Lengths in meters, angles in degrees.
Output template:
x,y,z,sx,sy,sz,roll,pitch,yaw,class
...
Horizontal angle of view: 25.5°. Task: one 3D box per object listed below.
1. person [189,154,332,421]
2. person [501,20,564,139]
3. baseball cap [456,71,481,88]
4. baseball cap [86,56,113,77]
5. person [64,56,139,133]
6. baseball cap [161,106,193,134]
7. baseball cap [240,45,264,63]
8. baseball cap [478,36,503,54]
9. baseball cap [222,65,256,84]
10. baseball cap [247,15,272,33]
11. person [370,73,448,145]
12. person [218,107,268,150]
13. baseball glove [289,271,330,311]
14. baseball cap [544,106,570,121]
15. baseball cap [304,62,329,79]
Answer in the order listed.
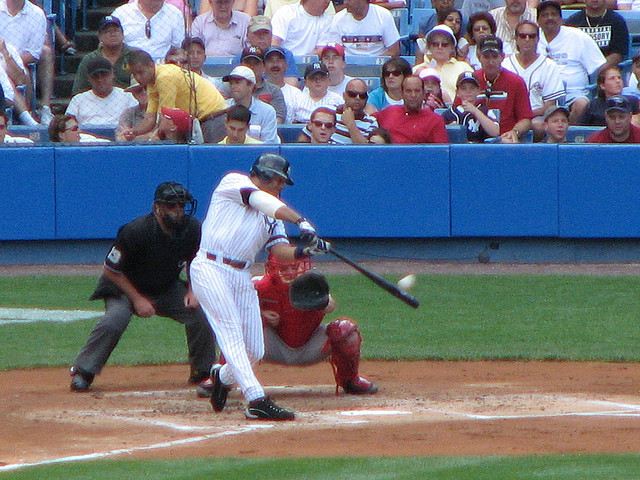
x,y,z,sx,sy,sz,roll,pitch,yaw,class
-0.645,0.419,12.647,1.058,2.360,0.728,0,3,-5,person
2.733,-2.166,18.112,0.794,1.192,0.451,1,3,6,person
1.848,-1.991,17.570,0.298,0.215,0.340,1,2,4,baseball cap
-2.782,-2.148,17.696,0.305,0.248,0.253,0,3,-8,baseball cap
-2.744,-1.806,17.836,1.262,0.835,0.598,-2,12,-6,person
-1.726,-1.444,16.907,0.356,0.185,0.222,34,26,-15,baseball cap
-0.880,-2.327,17.854,0.278,0.215,0.397,0,2,-3,baseball cap
2.132,-2.418,17.625,0.275,0.242,0.318,1,3,4,baseball cap
-0.998,-2.009,17.235,0.229,0.144,0.323,-4,-13,40,baseball cap
-0.802,-2.840,18.719,0.323,0.246,0.287,0,3,-14,baseball cap
1.146,-1.628,17.600,0.617,0.902,0.808,-1,3,-34,person
-0.945,-1.309,17.250,0.783,0.411,0.524,3,8,1,person
-0.108,0.464,12.751,0.356,0.352,0.213,0,3,-2,baseball glove
2.952,-1.582,17.641,0.283,0.168,0.347,1,2,4,baseball cap
-0.054,-2.155,18.002,0.298,0.197,0.273,0,2,-1,baseball cap
